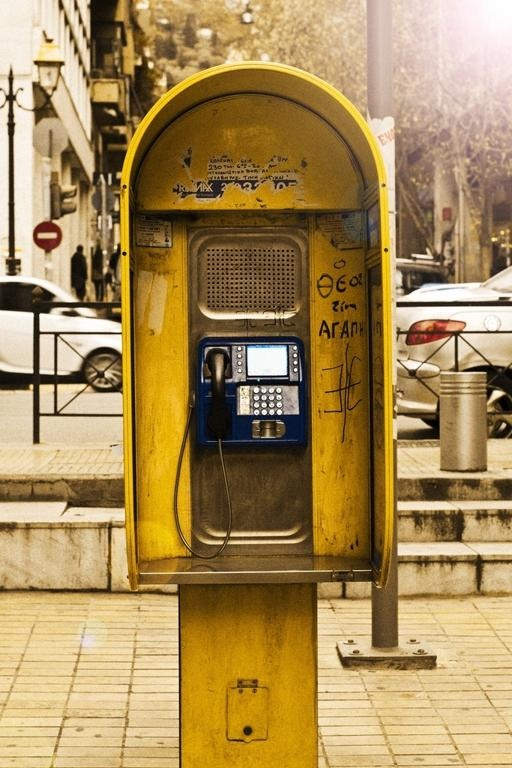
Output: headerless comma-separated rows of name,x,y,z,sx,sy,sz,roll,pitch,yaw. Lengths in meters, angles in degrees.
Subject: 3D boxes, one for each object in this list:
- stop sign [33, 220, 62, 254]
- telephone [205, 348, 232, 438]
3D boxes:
stop sign,-2.543,-1.930,14.306,0.329,0.357,0.407,-1,-1,6
telephone,-0.134,0.016,4.064,0.081,0.335,0.097,-1,-1,-2
